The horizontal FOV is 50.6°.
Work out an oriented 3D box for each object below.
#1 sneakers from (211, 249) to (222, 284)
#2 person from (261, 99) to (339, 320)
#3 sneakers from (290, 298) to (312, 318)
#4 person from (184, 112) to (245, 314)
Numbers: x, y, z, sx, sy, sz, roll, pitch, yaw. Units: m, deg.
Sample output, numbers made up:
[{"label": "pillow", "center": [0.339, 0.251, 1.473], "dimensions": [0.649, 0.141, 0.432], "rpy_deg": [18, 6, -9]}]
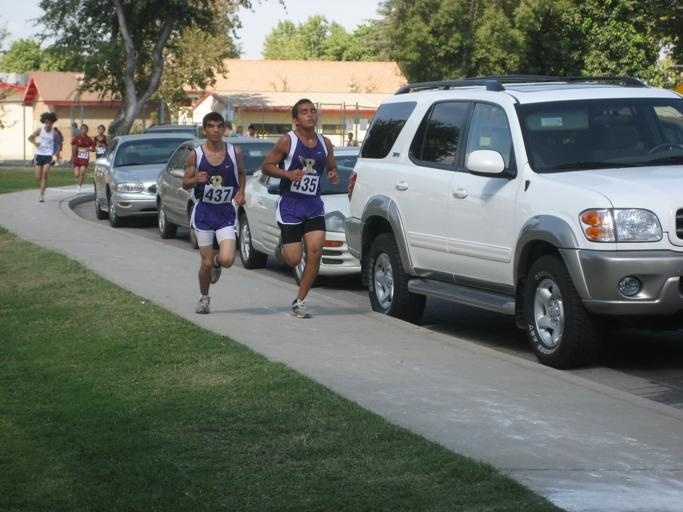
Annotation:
[{"label": "sneakers", "center": [-1.459, 0.135, 8.341], "dimensions": [0.138, 0.394, 0.174], "rpy_deg": [-1, 13, -1]}, {"label": "person", "center": [-0.478, -0.516, 7.997], "dimensions": [0.817, 2.395, 0.537], "rpy_deg": [1, 7, -6]}, {"label": "sneakers", "center": [-0.464, 0.593, 8.136], "dimensions": [0.125, 0.136, 0.311], "rpy_deg": [-1, 3, -32]}, {"label": "person", "center": [-1.422, -0.458, 8.031], "dimensions": [0.655, 2.245, 0.738], "rpy_deg": [0, 8, -8]}]
